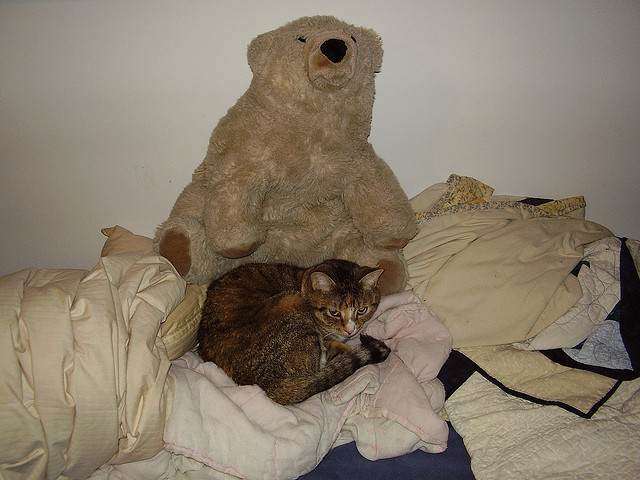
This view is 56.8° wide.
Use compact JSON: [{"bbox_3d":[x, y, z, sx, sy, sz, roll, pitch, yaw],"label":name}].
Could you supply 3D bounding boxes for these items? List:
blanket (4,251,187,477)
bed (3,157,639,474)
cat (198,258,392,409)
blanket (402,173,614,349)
[{"bbox_3d":[-0.702,0.354,2.078,0.570,0.647,0.683,-6,23,-28],"label":"blanket"},{"bbox_3d":[0.131,0.248,2.199,2.293,1.123,0.541,2,-6,-7],"label":"bed"},{"bbox_3d":[-0.113,0.318,2.253,0.617,0.335,0.506,13,31,-16],"label":"cat"},{"bbox_3d":[0.669,0.011,2.719,0.994,0.674,0.811,0,20,-7],"label":"blanket"}]
